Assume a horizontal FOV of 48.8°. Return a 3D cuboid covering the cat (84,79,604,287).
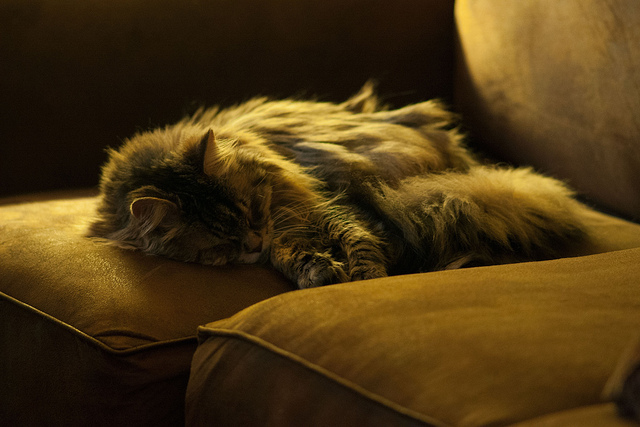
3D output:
[{"bbox_3d":[0.045,-0.060,2.398,1.072,0.371,0.854,-1,15,17],"label":"cat"}]
